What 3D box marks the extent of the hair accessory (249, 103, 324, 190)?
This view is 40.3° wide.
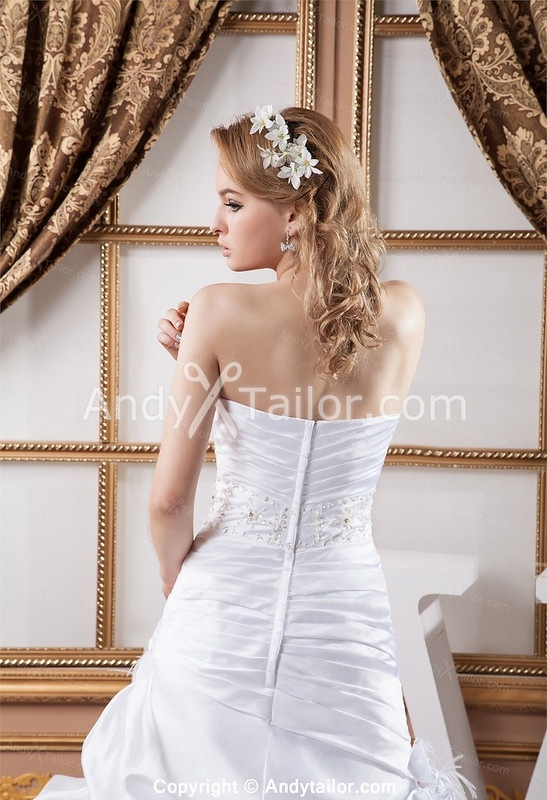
[{"bbox_3d":[0.019,-0.414,1.272,0.094,0.153,0.056,-34,-6,10],"label":"hair accessory"}]
